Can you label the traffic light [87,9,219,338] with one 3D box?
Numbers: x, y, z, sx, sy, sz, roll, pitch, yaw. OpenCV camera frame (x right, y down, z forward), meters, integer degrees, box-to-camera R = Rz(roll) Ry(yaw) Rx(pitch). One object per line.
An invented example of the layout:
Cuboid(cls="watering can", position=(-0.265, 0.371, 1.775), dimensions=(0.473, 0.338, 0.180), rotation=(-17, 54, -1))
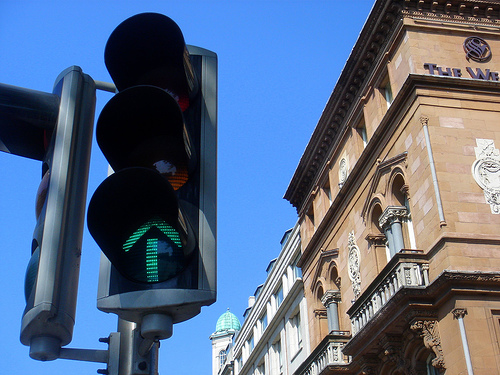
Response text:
Cuboid(cls="traffic light", position=(-0.892, -0.235, 5.879), dimensions=(1.218, 2.979, 1.265), rotation=(2, -33, -1))
